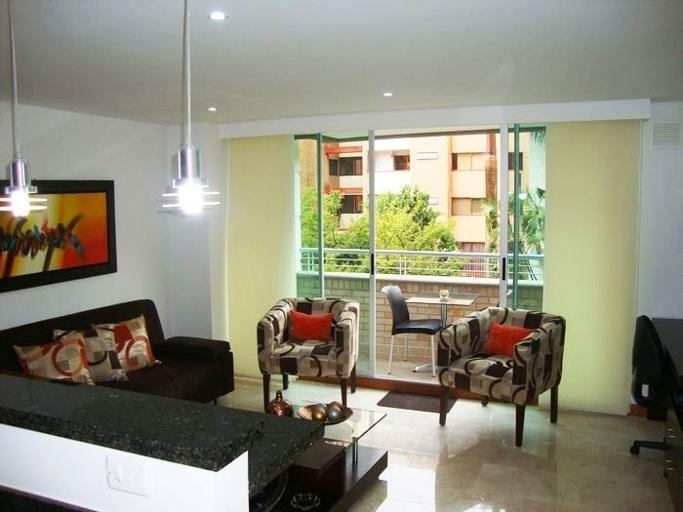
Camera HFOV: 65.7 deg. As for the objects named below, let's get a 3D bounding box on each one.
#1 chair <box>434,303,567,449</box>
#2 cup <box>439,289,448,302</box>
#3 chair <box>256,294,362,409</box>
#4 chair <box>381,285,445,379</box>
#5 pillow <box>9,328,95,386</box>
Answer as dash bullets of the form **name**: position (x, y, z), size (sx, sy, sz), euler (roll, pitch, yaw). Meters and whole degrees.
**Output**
- **chair**: position (1.467, 1.051, 4.862), size (0.939, 0.991, 0.839), euler (5, 10, 34)
- **cup**: position (1.120, 0.438, 5.854), size (0.104, 0.156, 0.109), euler (2, 3, 0)
- **chair**: position (-0.333, 0.899, 5.593), size (1.026, 1.169, 1.042), euler (0, -2, 10)
- **chair**: position (0.728, 0.778, 5.882), size (0.849, 1.289, 0.785), euler (-1, 2, 18)
- **pillow**: position (-2.316, 0.865, 4.277), size (0.543, 0.394, 0.425), euler (-4, 9, -23)
